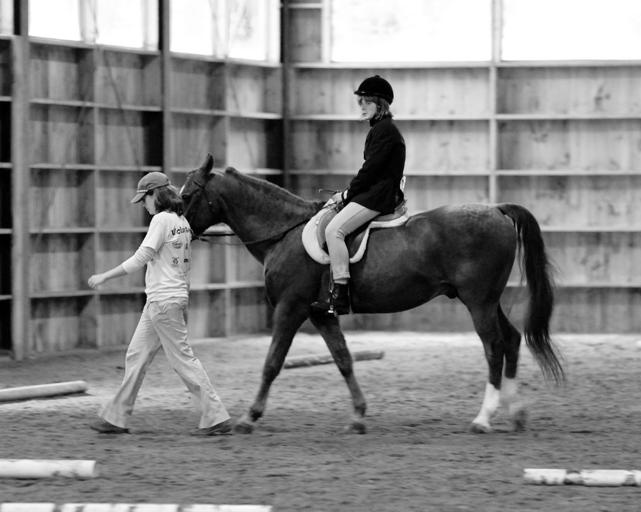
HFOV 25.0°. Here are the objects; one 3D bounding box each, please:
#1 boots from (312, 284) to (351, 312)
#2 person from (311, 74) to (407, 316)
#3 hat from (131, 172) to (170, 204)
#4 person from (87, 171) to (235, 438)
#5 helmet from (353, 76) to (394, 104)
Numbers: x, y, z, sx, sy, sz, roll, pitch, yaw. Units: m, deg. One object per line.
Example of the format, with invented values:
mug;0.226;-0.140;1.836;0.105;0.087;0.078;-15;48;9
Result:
boots;0.078;0.398;13.516;0.378;0.338;0.217;3;-6;-6
person;0.370;-0.557;13.574;0.838;2.233;0.363;0;5;-3
hat;-1.559;-0.642;13.452;0.449;0.220;0.280;-19;-8;-7
person;-1.450;0.440;13.285;1.262;2.389;0.569;0;5;-4
helmet;0.509;-1.555;13.558;0.341;0.190;0.252;12;-8;-11
